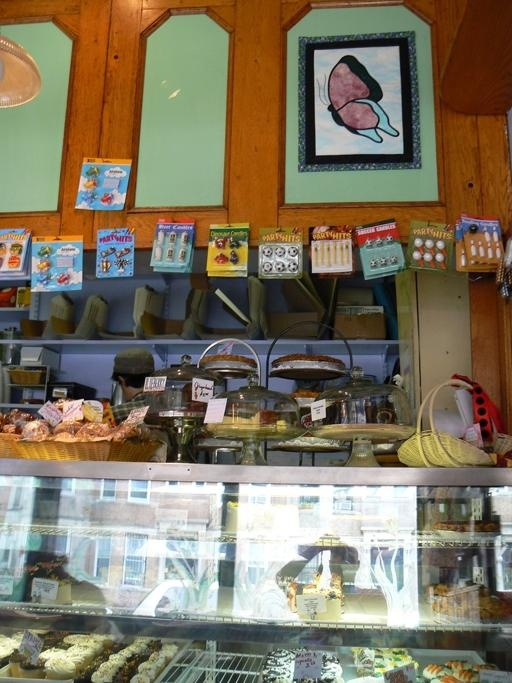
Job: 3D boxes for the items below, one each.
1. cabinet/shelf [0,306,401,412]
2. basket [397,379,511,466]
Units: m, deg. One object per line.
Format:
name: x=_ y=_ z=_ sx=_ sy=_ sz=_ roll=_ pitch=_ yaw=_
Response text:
cabinet/shelf: x=-0.529 y=0.166 z=3.601 sx=2.775 sy=0.615 sz=0.768 roll=-3 pitch=14 yaw=6
basket: x=0.597 y=0.239 z=1.551 sx=0.319 sy=0.281 sz=0.181 roll=18 pitch=-25 yaw=-34
